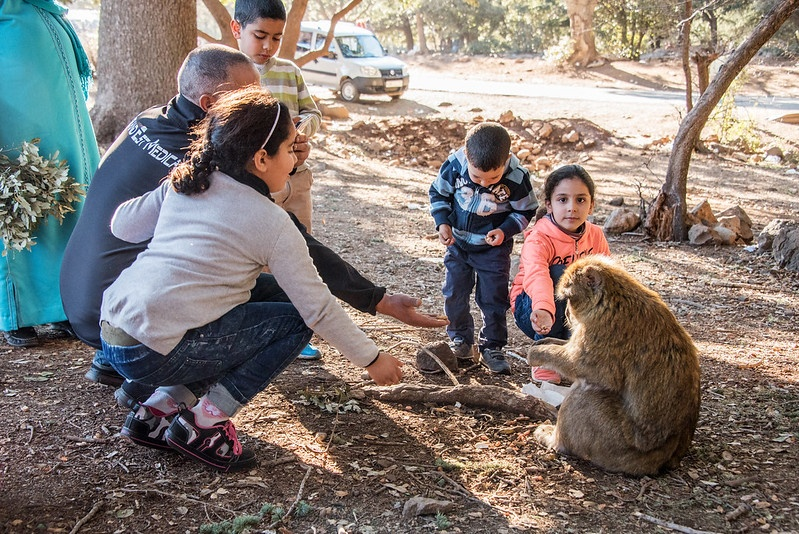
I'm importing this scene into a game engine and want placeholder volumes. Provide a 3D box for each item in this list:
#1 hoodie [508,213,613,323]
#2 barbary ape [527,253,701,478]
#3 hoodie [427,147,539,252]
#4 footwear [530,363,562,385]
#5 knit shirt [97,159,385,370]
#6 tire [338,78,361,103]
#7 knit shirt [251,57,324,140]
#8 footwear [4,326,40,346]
[{"bbox_3d":[1.259,-0.018,4.865,1.050,0.681,0.627,-6,15,-24],"label":"hoodie"},{"bbox_3d":[1.311,0.603,3.969,0.946,1.153,0.477,13,19,24],"label":"barbary ape"},{"bbox_3d":[0.643,-0.516,5.026,0.916,0.803,0.552,13,27,32],"label":"hoodie"},{"bbox_3d":[1.011,0.729,4.530,0.227,0.095,0.288,3,7,11],"label":"footwear"},{"bbox_3d":[-0.940,-0.018,3.590,1.493,0.991,0.533,5,17,3],"label":"knit shirt"},{"bbox_3d":[-1.330,-4.842,17.855,0.301,0.711,0.764,-17,15,-40],"label":"tire"},{"bbox_3d":[-0.823,-1.345,5.015,0.301,0.685,0.490,-37,18,10],"label":"knit shirt"},{"bbox_3d":[-2.754,0.501,4.819,0.201,0.121,0.170,-4,18,-29],"label":"footwear"}]
